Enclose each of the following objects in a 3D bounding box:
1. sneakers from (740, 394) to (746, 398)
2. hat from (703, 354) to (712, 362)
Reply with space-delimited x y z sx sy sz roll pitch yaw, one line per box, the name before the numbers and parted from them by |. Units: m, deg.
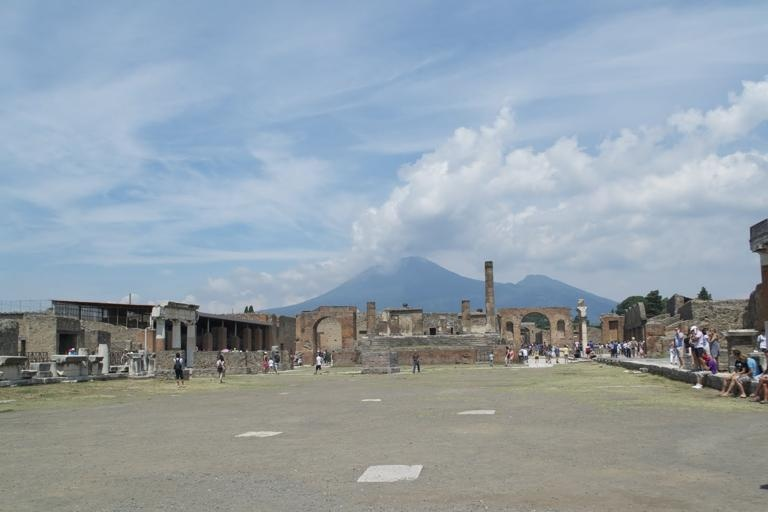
sneakers | 10.828 4.181 18.393 0.164 0.101 0.213 -7 -10 26
hat | 11.737 3.660 22.094 0.231 0.240 0.187 -11 2 -44
